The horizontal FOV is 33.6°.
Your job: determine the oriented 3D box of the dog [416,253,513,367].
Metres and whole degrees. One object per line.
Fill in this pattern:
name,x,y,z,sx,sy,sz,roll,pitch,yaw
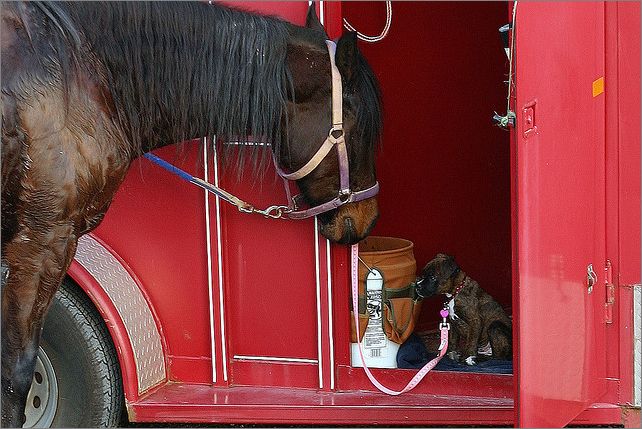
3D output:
dog,0.707,0.478,5.174,0.530,0.528,0.276,5,-4,-21
